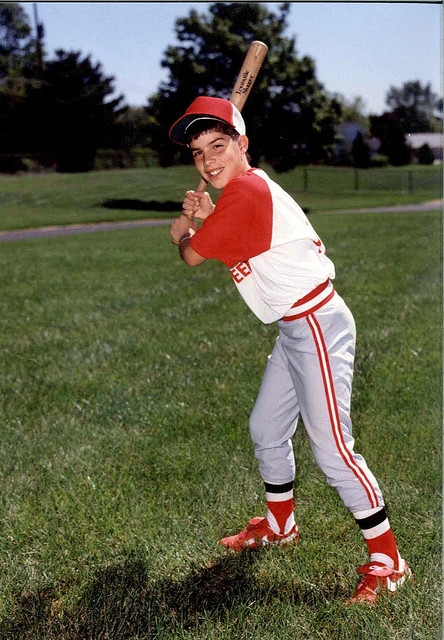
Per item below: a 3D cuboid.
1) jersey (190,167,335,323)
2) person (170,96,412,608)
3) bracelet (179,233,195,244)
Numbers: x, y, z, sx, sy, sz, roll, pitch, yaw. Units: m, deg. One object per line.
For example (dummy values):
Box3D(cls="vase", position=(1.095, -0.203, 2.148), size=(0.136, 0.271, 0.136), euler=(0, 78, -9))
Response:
Box3D(cls="jersey", position=(0.125, -0.286, 2.314), size=(0.443, 0.524, 0.404), euler=(-27, 21, -4))
Box3D(cls="person", position=(0.233, 0.015, 2.547), size=(0.870, 1.869, 1.108), euler=(-1, 9, -6))
Box3D(cls="bracelet", position=(-0.150, -0.332, 2.491), size=(0.049, 0.012, 0.051), euler=(-41, 17, -1))
